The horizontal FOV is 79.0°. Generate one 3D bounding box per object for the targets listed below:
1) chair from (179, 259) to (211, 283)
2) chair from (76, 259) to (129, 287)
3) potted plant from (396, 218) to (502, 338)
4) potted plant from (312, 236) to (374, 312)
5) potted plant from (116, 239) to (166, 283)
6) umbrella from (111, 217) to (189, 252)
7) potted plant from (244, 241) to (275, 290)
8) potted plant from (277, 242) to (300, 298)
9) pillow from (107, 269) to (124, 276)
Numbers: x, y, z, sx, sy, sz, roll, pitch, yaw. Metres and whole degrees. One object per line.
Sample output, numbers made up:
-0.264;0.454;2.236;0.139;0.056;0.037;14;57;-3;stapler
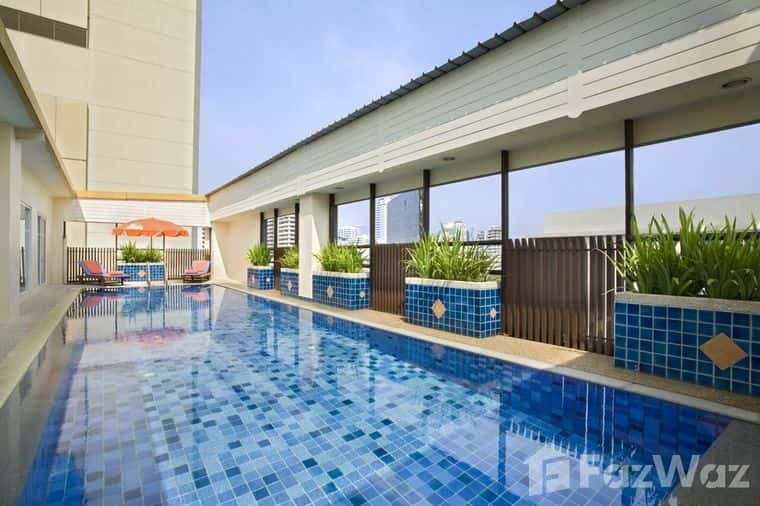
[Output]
-8.276;0.820;20.852;0.979;1.046;2.223;-2;6;-18;chair
-11.098;0.773;18.233;2.444;1.070;1.033;0;0;41;chair
1.578;0.602;9.926;2.026;2.024;0.848;6;8;45;potted plant
-1.009;0.591;12.858;0.834;1.682;1.829;-5;7;-39;potted plant
-10.428;0.400;20.638;1.806;2.369;2.421;-4;-5;43;potted plant
-8.676;-0.953;18.040;2.070;1.368;2.138;2;5;-2;umbrella
-4.594;0.500;17.898;0.718;1.658;1.545;-4;7;-31;potted plant
-3.028;0.588;15.384;0.559;1.573;1.975;-1;6;-12;potted plant
-10.605;0.799;18.520;0.649;0.253;0.899;0;2;-30;pillow
